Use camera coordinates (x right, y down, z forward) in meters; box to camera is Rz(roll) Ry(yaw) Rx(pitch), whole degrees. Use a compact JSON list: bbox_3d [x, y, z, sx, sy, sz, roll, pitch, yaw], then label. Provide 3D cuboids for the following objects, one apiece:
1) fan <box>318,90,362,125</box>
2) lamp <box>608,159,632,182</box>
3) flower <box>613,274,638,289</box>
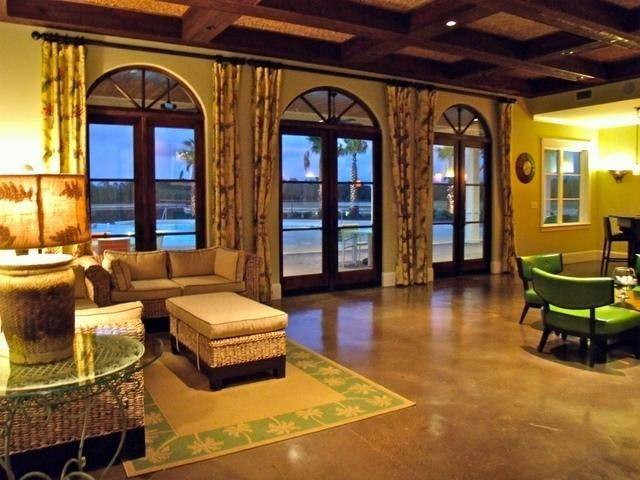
[{"bbox_3d":[0.292,-2.154,7.933,0.618,0.681,0.081,-2,8,-19],"label":"fan"},{"bbox_3d":[6.920,-1.601,11.237,0.441,0.403,0.469,2,10,29],"label":"lamp"},{"bbox_3d":[2.985,0.391,4.746,0.158,0.155,0.161,0,2,19],"label":"flower"}]
